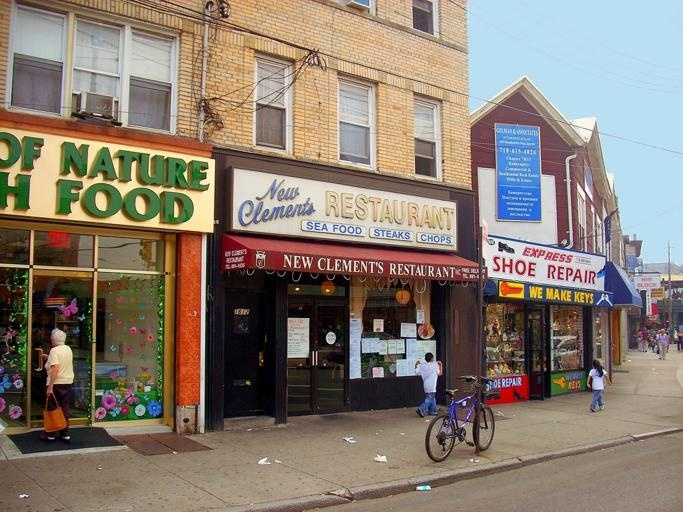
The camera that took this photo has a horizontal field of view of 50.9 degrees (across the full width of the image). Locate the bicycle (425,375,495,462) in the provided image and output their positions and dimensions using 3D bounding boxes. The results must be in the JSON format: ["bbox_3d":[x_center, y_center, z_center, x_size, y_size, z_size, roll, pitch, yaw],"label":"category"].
[{"bbox_3d":[2.448,3.315,14.617,2.352,1.543,0.790,2,-1,-44],"label":"bicycle"}]

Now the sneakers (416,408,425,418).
[{"bbox_3d":[1.962,3.969,18.012,0.098,0.134,0.314,-2,-40,28],"label":"sneakers"}]

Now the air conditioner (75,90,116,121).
[{"bbox_3d":[-5.179,-3.128,14.938,0.637,0.556,0.320,5,-11,-44],"label":"air conditioner"}]

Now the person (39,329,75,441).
[{"bbox_3d":[-5.427,2.505,13.756,0.487,2.110,0.418,2,3,-24],"label":"person"}]

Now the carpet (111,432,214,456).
[{"bbox_3d":[-3.555,3.766,14.341,1.458,0.048,1.574,2,2,-33],"label":"carpet"}]

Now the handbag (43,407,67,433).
[{"bbox_3d":[-5.453,3.146,13.671,0.399,0.528,0.247,1,3,-34],"label":"handbag"}]
